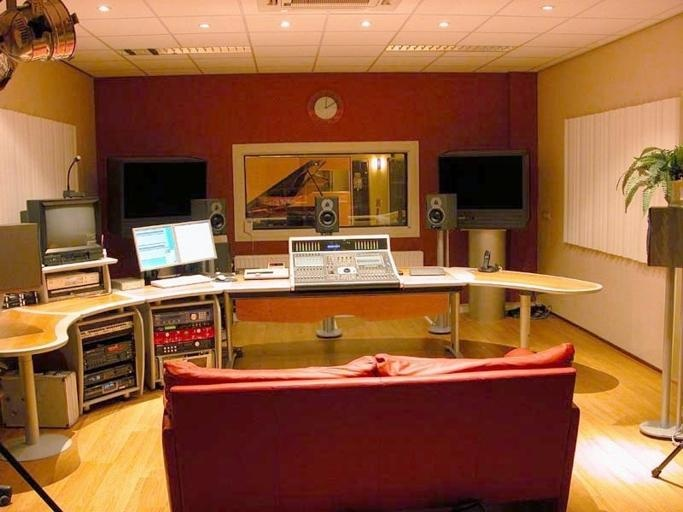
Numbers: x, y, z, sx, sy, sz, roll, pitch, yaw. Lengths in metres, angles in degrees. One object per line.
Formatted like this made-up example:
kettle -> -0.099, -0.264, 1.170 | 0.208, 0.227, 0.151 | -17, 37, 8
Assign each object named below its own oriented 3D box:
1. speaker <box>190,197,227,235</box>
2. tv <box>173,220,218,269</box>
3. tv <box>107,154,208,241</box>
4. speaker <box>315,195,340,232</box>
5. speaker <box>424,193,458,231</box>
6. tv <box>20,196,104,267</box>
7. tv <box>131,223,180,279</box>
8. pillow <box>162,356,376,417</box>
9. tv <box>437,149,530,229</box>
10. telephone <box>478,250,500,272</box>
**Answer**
speaker -> -1.314, -0.374, 5.677 | 0.246, 0.437, 0.242 | -7, 9, -41
tv -> -1.320, -0.126, 5.275 | 0.415, 0.399, 0.096 | -5, 5, -35
tv -> -2.097, -0.663, 6.272 | 0.964, 0.886, 0.340 | -2, 5, -29
speaker -> -0.151, -0.415, 5.749 | 0.234, 0.408, 0.204 | -3, 9, -5
speaker -> 1.182, -0.536, 6.560 | 0.358, 0.412, 0.369 | -3, 4, -20
tv -> -2.374, -0.232, 4.897 | 0.634, 0.621, 0.576 | 2, 5, 39
tv -> -1.789, -0.064, 5.390 | 0.522, 0.580, 0.092 | -14, 8, -33
pillow -> -0.376, 0.653, 2.922 | 1.138, 0.287, 0.244 | -3, 10, -4
tv -> 1.950, -0.988, 7.042 | 1.161, 1.021, 0.683 | 8, 32, 44
telephone -> 1.661, 0.053, 6.212 | 0.187, 0.271, 0.225 | 2, 8, 15
